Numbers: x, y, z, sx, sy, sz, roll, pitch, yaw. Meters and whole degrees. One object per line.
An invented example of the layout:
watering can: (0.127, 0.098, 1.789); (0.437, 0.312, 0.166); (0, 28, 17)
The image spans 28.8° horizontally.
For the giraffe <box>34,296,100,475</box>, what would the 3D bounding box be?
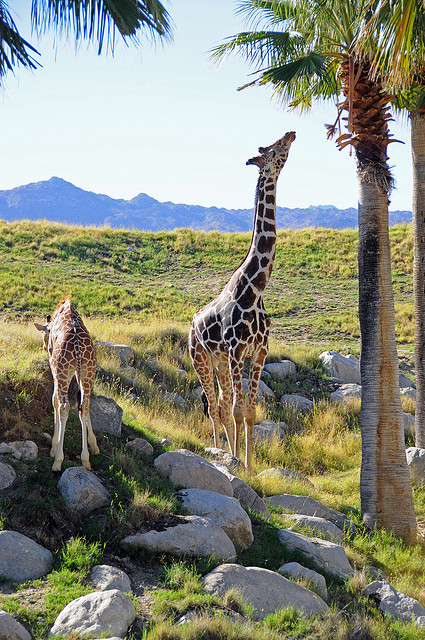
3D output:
giraffe: (-1.737, 0.705, 9.756); (0.470, 2.028, 1.941); (0, 0, -20)

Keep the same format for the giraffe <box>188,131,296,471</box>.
giraffe: (0.333, -0.224, 11.189); (1.287, 4.526, 2.562); (1, 4, -3)
